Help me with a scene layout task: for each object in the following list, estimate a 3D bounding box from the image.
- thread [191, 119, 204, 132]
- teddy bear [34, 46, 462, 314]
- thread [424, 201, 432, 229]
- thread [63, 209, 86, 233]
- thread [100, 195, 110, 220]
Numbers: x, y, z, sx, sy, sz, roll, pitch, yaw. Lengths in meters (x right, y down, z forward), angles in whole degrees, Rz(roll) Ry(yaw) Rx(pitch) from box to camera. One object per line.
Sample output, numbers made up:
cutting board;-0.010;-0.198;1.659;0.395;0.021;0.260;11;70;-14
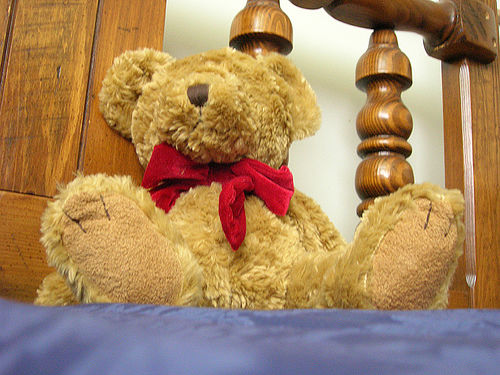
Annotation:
thread;-0.105;-0.120;1.788;0.004;0.017;0.016;25;-45;-29
teddy bear;-0.021;0.000;1.868;0.794;0.596;0.612;-1;-3;-3
thread;0.323;0.055;1.678;0.005;0.043;0.003;14;-10;10
thread;-0.318;0.061;1.661;0.050;0.009;0.004;48;7;-14
thread;-0.264;0.038;1.672;0.005;0.047;0.004;-10;21;36
